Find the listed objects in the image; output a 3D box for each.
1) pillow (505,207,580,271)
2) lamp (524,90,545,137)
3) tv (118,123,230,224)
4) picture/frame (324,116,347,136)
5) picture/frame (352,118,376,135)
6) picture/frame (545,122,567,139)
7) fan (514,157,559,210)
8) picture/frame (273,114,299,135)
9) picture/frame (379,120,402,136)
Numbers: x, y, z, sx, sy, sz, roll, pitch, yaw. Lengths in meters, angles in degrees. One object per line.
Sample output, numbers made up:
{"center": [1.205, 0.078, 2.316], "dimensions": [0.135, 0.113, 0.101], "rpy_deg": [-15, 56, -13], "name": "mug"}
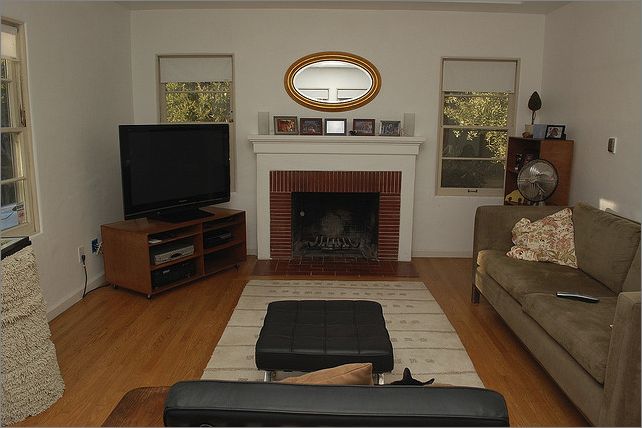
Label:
{"center": [2.051, 0.252, 4.233], "dimensions": [0.575, 0.552, 0.136], "rpy_deg": [-2, -28, 15], "name": "pillow"}
{"center": [2.595, -1.227, 5.492], "dimensions": [0.178, 0.550, 0.476], "rpy_deg": [7, 15, 24], "name": "lamp"}
{"center": [-1.610, -0.454, 4.886], "dimensions": [0.326, 0.817, 1.117], "rpy_deg": [8, 10, 42], "name": "tv"}
{"center": [0.174, -1.083, 5.612], "dimensions": [0.261, 0.207, 0.019], "rpy_deg": [0, 7, -5], "name": "picture/frame"}
{"center": [0.527, -1.081, 5.579], "dimensions": [0.243, 0.191, 0.017], "rpy_deg": [0, -2, -2], "name": "picture/frame"}
{"center": [2.658, -0.931, 5.099], "dimensions": [0.119, 0.199, 0.227], "rpy_deg": [1, 4, -24], "name": "picture/frame"}
{"center": [2.354, -0.293, 4.851], "dimensions": [0.270, 0.635, 0.420], "rpy_deg": [-18, 25, -30], "name": "fan"}
{"center": [-0.428, -1.094, 5.559], "dimensions": [0.308, 0.245, 0.021], "rpy_deg": [0, 7, -4], "name": "picture/frame"}
{"center": [0.858, -1.062, 5.567], "dimensions": [0.225, 0.178, 0.023], "rpy_deg": [1, 5, -1], "name": "picture/frame"}
